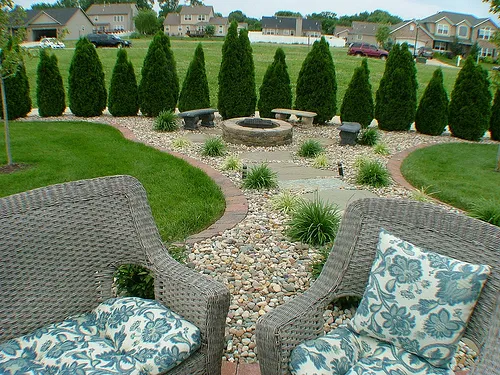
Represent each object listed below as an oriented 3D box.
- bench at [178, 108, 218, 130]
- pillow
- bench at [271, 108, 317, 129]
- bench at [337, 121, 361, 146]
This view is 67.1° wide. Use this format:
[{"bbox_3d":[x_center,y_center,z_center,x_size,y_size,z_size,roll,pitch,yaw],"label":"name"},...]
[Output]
[{"bbox_3d":[-1.288,-1.729,9.445,0.662,0.468,1.248,8,20,10],"label":"bench"},{"bbox_3d":[0.994,0.637,2.229,0.893,0.805,0.198,-21,-43,34],"label":"pillow"},{"bbox_3d":[1.209,-1.891,10.111,1.280,0.434,1.060,16,23,31],"label":"bench"},{"bbox_3d":[2.169,-1.192,8.278,0.543,0.325,0.721,-3,13,11],"label":"bench"}]
